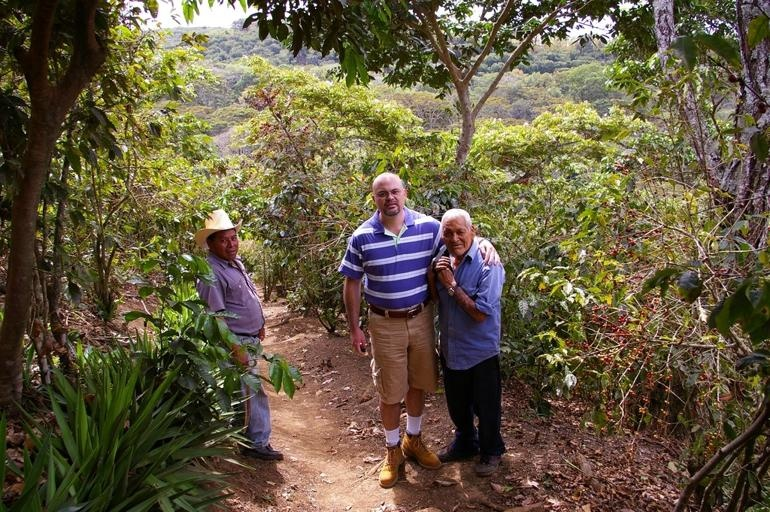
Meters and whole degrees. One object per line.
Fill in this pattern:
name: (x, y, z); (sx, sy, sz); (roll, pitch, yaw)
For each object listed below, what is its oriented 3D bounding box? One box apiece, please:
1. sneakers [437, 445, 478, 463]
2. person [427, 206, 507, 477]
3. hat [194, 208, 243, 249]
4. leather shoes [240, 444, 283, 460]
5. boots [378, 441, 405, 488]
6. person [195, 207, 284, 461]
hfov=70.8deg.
sneakers: (0.638, 1.709, 4.755); (0.341, 0.159, 0.146); (1, 0, -1)
person: (0.690, 0.700, 4.492); (0.567, 2.173, 0.393); (-2, 8, 15)
hat: (-1.570, -0.224, 4.876); (0.308, 0.144, 0.353); (-9, -18, -43)
leather shoes: (-1.109, 1.743, 4.876); (0.360, 0.151, 0.144); (4, -3, -17)
boots: (0.057, 1.797, 4.704); (0.138, 0.163, 0.416); (-3, 0, 12)
person: (-1.295, 0.746, 4.785); (0.580, 2.302, 1.076); (-6, 8, -18)
